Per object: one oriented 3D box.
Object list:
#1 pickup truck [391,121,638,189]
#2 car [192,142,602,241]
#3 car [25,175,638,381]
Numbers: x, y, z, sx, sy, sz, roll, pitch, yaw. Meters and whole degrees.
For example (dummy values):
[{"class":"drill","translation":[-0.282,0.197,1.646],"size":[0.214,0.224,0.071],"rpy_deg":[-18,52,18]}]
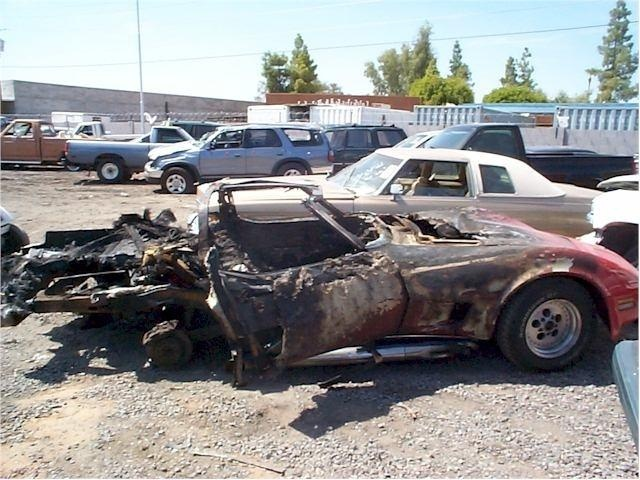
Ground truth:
[{"class":"pickup truck","translation":[5.369,-2.116,10.879],"size":[5.879,1.268,1.909],"rpy_deg":[3,16,-2]},{"class":"car","translation":[1.276,-0.747,6.751],"size":[6.171,1.158,2.145],"rpy_deg":[0,8,-5]},{"class":"car","translation":[0.041,0.435,4.578],"size":[6.120,1.154,2.754],"rpy_deg":[-3,14,-5]}]
